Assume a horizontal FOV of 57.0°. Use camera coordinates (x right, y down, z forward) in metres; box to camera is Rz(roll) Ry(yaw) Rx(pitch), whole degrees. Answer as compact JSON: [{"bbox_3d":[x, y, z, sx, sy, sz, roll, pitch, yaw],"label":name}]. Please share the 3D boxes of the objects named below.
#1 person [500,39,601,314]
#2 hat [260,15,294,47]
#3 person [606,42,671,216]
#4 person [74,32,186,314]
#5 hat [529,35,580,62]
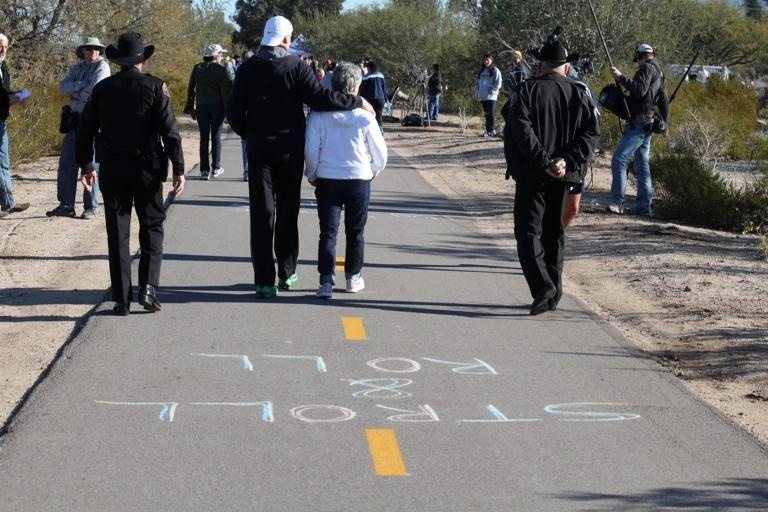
[{"bbox_3d":[1.701,-0.814,7.308,0.859,2.771,0.641,-8,16,-37],"label":"person"},{"bbox_3d":[-1.109,-2.354,7.416,0.259,0.208,0.414,10,35,19],"label":"hat"},{"bbox_3d":[4.081,-1.980,11.347,0.773,2.687,1.189,11,16,35],"label":"person"},{"bbox_3d":[-2.554,-0.812,7.151,0.999,2.659,0.727,1,5,-12],"label":"person"},{"bbox_3d":[1.774,-2.098,7.443,0.440,0.190,0.510,3,22,4],"label":"hat"}]
